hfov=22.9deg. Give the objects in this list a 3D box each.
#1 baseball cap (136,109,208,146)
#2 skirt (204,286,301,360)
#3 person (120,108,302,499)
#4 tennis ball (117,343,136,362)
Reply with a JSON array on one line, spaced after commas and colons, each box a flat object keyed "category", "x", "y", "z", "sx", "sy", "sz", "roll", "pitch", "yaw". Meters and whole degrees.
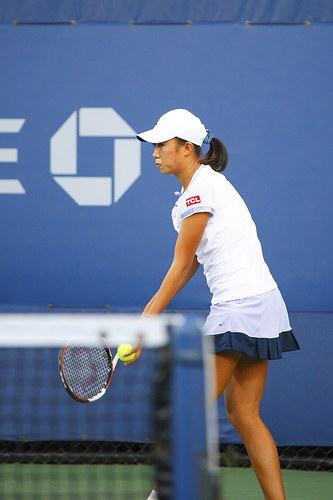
[{"category": "baseball cap", "x": 0.028, "y": -0.490, "z": 3.286, "sx": 0.280, "sy": 0.143, "sz": 0.105, "roll": 1, "pitch": -2, "yaw": 2}, {"category": "skirt", "x": 0.356, "y": 0.298, "z": 3.154, "sx": 0.368, "sy": 0.264, "sz": 0.263, "roll": -2, "pitch": 2, "yaw": -18}, {"category": "person", "x": 0.195, "y": 0.206, "z": 3.217, "sx": 0.614, "sy": 1.530, "sz": 0.524, "roll": 1, "pitch": -1, "yaw": 22}, {"category": "tennis ball", "x": -0.146, "y": 0.393, "z": 3.097, "sx": 0.071, "sy": 0.067, "sz": 0.069, "roll": 1, "pitch": -2, "yaw": 0}]
